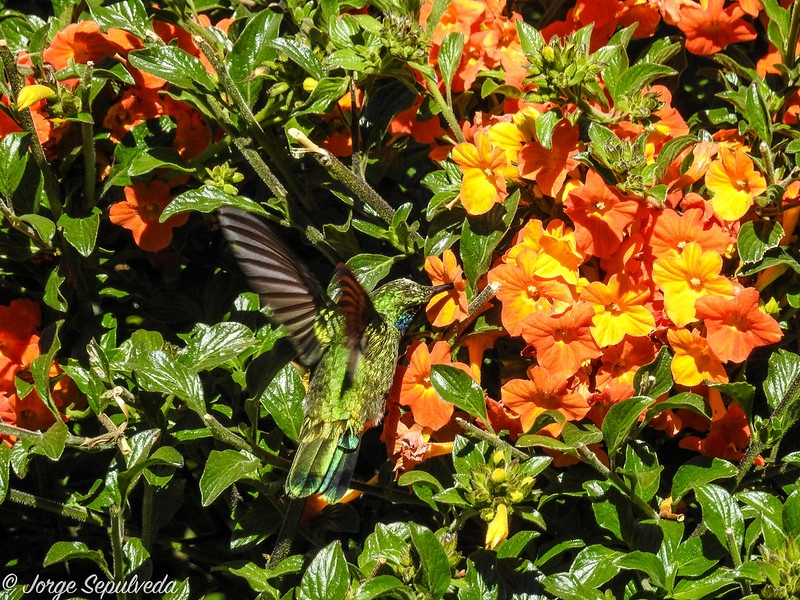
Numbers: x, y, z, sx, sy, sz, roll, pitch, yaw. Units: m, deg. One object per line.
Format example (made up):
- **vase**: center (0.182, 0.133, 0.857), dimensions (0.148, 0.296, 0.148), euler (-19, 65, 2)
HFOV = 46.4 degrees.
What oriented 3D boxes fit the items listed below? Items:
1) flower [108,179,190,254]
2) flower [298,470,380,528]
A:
- **flower**: center (-0.771, -0.266, 2.870), dimensions (0.220, 0.191, 0.163), euler (20, 5, -16)
- **flower**: center (-0.204, 0.593, 2.814), dimensions (0.084, 0.186, 0.176), euler (3, 1, -39)
